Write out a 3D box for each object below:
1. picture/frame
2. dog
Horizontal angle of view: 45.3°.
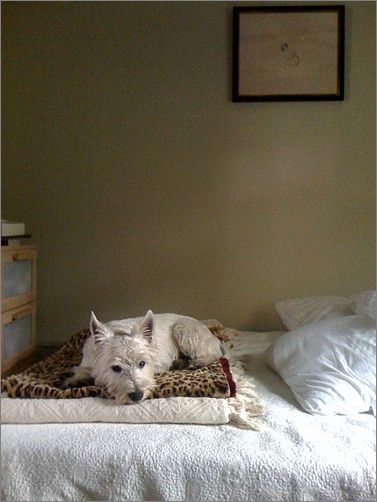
[{"bbox_3d":[0.646,-1.272,2.835,0.719,0.529,0.044,-1,6,4],"label":"picture/frame"},{"bbox_3d":[-0.181,0.387,1.950,0.538,0.270,0.724,0,3,30],"label":"dog"}]
